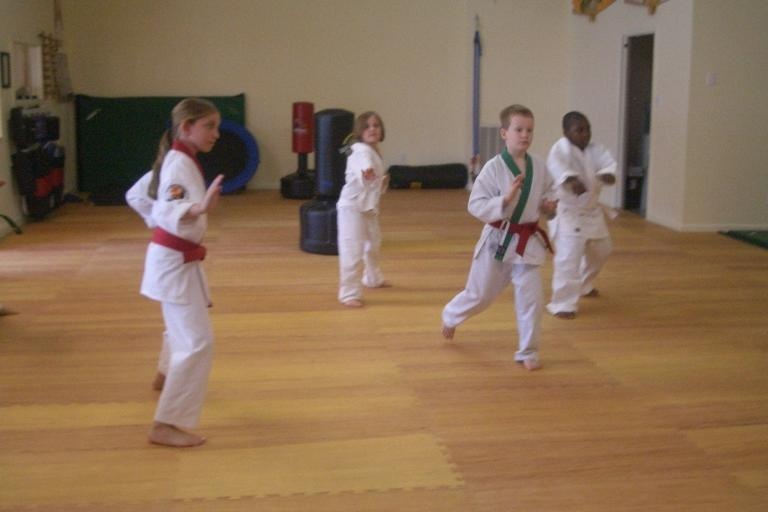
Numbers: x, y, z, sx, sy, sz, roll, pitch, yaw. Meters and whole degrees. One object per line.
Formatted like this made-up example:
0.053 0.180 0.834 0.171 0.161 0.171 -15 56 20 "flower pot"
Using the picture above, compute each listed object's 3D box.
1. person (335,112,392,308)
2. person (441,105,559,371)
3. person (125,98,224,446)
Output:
-0.186 -0.369 4.607 0.376 1.370 0.654 2 17 3 "person"
0.678 -0.028 3.613 0.608 1.291 0.366 6 18 14 "person"
-0.997 0.062 2.959 0.454 1.581 0.624 -5 18 -19 "person"
